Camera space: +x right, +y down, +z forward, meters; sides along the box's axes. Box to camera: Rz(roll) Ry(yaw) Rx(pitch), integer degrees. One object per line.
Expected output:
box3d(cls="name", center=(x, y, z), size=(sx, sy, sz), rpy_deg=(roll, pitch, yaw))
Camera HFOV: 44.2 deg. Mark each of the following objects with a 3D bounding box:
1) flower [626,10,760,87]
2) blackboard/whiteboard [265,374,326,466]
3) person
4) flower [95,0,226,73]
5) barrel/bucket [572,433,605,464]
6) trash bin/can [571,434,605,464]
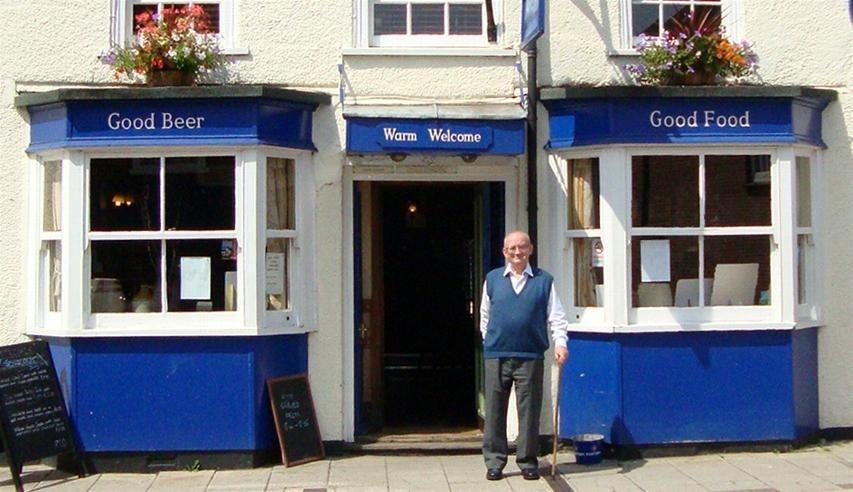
box3d(cls="flower", center=(3.337, -2.458, 13.372), size=(1.373, 0.846, 1.341), rpy_deg=(-8, 7, -13))
box3d(cls="blackboard/whiteboard", center=(-1.629, 2.151, 13.074), size=(0.545, 1.053, 0.372), rpy_deg=(-9, 13, -32))
box3d(cls="person", center=(1.143, 1.316, 12.630), size=(0.973, 2.921, 0.644), rpy_deg=(-1, 11, 2))
box3d(cls="flower", center=(-3.357, -2.649, 13.374), size=(1.232, 0.597, 1.093), rpy_deg=(-2, 1, -25))
box3d(cls="barrel/bucket", center=(1.989, 2.483, 12.898), size=(0.363, 0.242, 0.346), rpy_deg=(-1, -6, 0))
box3d(cls="trash bin/can", center=(2.052, 2.514, 13.065), size=(0.446, 0.304, 0.446), rpy_deg=(-7, -2, 29))
